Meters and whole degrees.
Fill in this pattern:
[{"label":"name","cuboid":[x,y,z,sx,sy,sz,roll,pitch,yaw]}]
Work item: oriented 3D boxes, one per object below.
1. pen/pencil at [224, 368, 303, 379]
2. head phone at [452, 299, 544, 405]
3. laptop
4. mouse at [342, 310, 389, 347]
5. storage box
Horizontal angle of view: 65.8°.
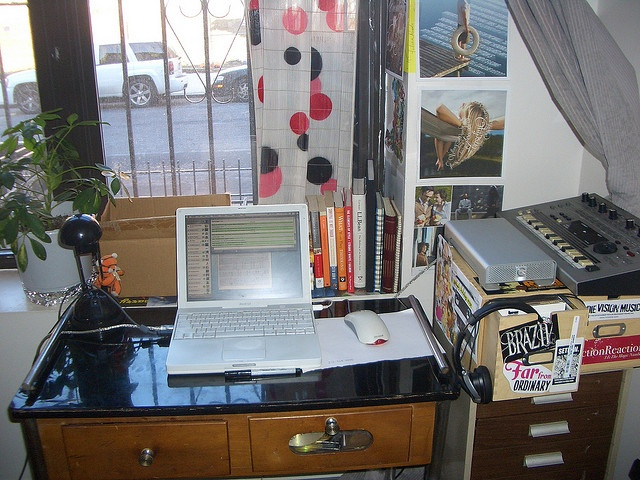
[{"label":"pen/pencil","cuboid":[-0.174,0.385,1.429,0.168,0.025,0.026,-2,17,-6]},{"label":"head phone","cuboid":[0.502,0.314,1.371,0.285,0.351,0.115,-3,15,-2]},{"label":"laptop","cuboid":[-0.223,0.126,1.493,0.438,0.353,0.467,-2,19,-8]},{"label":"mouse","cuboid":[0.153,0.272,1.598,0.108,0.064,0.194,-5,24,-16]},{"label":"storage box","cuboid":[-0.665,0.007,1.971,0.531,0.323,0.382,-3,20,-8]}]
